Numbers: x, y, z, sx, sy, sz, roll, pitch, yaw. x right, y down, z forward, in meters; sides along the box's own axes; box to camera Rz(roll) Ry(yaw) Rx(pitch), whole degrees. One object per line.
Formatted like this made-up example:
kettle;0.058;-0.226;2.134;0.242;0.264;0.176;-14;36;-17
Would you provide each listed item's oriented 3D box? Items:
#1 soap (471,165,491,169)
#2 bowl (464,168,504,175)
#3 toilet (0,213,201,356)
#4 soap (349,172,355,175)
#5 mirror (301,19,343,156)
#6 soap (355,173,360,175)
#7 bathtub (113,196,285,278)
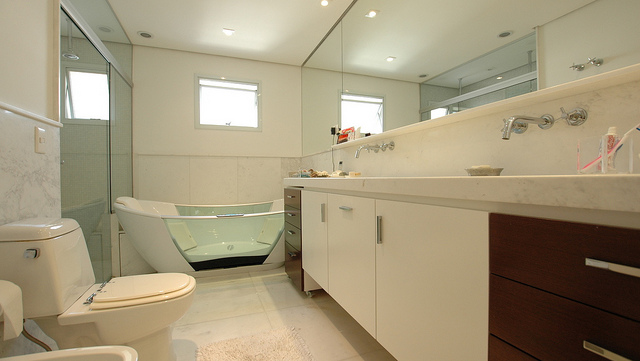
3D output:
soap;1.140;-0.096;2.710;0.070;0.015;0.067;-2;1;-33
bowl;1.162;-0.069;2.738;0.232;0.051;0.146;4;7;29
toilet;-1.577;0.746;3.232;1.480;1.093;0.818;0;2;-20
soap;0.309;-0.072;3.716;0.044;0.026;0.023;0;7;6
mirror;0.044;-1.199;4.846;0.022;1.517;1.621;0;-3;-22
soap;0.373;-0.068;3.795;0.037;0.024;0.035;0;-3;6
bathtub;-1.123;0.627;4.642;2.351;0.829;0.849;0;5;-15
